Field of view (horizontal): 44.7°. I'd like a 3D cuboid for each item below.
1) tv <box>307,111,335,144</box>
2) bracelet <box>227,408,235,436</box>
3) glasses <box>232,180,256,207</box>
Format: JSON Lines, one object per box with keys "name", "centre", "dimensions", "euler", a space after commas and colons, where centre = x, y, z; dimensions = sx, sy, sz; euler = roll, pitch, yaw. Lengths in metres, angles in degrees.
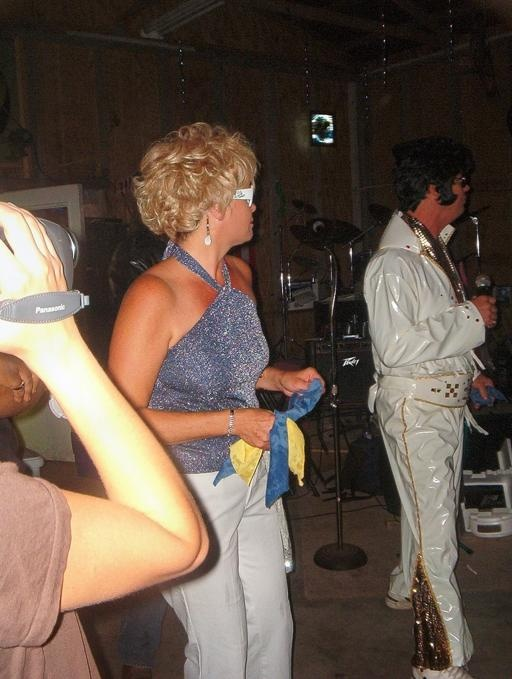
{"name": "tv", "centre": [0.960, -3.172, 9.296], "dimensions": [0.637, 0.542, 0.064], "euler": [-2, 3, -26]}
{"name": "bracelet", "centre": [-0.054, 0.197, 1.459], "dimensions": [0.014, 0.044, 0.035], "euler": [3, 3, 4]}
{"name": "glasses", "centre": [-0.028, -0.368, 1.561], "dimensions": [0.058, 0.049, 0.017], "euler": [3, -6, 29]}
